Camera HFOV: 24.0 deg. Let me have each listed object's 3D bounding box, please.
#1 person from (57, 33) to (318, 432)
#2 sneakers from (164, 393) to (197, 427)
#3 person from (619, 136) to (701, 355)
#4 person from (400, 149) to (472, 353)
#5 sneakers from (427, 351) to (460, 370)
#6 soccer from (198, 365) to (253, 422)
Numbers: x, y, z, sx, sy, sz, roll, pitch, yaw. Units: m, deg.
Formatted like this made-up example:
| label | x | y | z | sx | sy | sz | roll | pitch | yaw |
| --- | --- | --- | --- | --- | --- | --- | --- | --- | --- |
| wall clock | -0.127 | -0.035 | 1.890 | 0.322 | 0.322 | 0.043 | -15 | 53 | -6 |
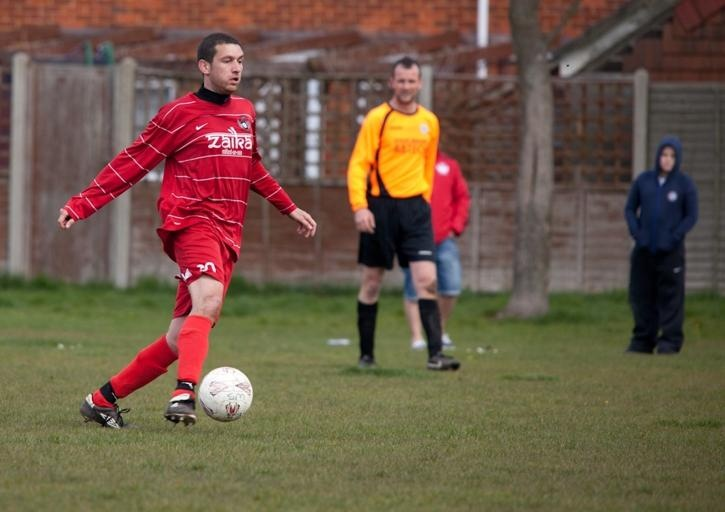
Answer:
| label | x | y | z | sx | sy | sz | roll | pitch | yaw |
| --- | --- | --- | --- | --- | --- | --- | --- | --- | --- |
| person | -0.971 | -0.144 | 9.334 | 1.325 | 2.091 | 0.764 | -5 | 8 | -9 |
| sneakers | -0.972 | 0.826 | 9.113 | 0.100 | 0.120 | 0.240 | 8 | -17 | -21 |
| person | 1.474 | -0.046 | 8.486 | 0.365 | 1.058 | 0.226 | -3 | 8 | 11 |
| person | 0.415 | -0.058 | 9.787 | 0.417 | 1.034 | 1.176 | -4 | 8 | 3 |
| sneakers | 0.418 | 0.572 | 9.184 | 0.192 | 0.083 | 0.070 | -4 | -5 | 37 |
| soccer | -0.747 | 0.737 | 9.352 | 0.310 | 0.292 | 0.300 | 11 | 6 | 41 |
